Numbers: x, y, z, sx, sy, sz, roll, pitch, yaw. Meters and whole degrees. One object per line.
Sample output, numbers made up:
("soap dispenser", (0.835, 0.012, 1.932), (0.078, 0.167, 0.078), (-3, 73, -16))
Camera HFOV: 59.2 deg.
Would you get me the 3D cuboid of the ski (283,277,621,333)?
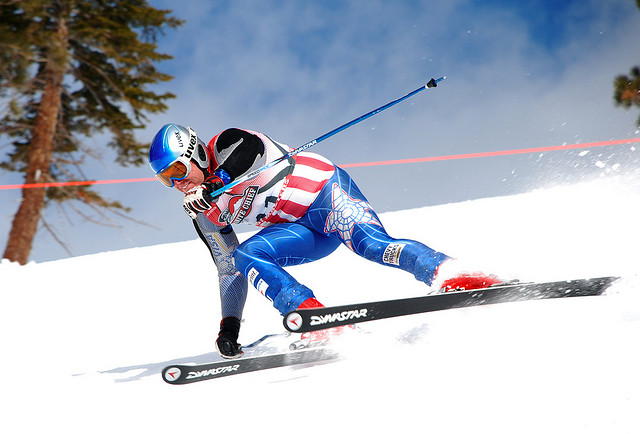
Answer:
("ski", (1.061, 0.714, 4.753), (2.759, 0.227, 0.129), (-7, 11, -4))
